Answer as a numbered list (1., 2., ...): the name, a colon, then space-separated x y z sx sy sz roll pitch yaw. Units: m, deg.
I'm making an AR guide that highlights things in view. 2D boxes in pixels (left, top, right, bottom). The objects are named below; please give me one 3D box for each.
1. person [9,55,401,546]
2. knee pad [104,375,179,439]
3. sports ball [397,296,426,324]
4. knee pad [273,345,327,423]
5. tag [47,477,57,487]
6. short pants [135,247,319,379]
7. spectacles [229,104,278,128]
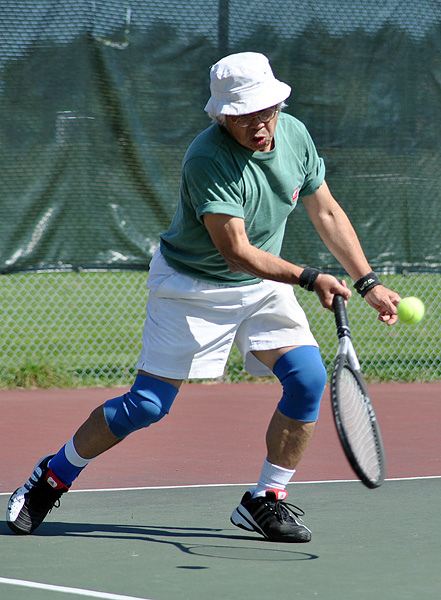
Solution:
1. person: -0.016 0.039 2.343 1.062 1.513 0.724 -2 -2 23
2. knee pad: -0.280 0.302 2.215 0.151 0.233 0.189 -25 36 -17
3. sports ball: 0.715 0.040 2.607 0.086 0.101 0.255 -2 -2 28
4. knee pad: 0.254 0.273 2.244 0.165 0.248 0.176 -2 -2 3
5. tag: -0.552 0.603 2.269 0.031 0.033 0.010 -1 -2 -4
6. short pants: 0.016 0.040 2.339 0.593 0.436 0.224 -1 -2 -7
7. spectacles: 0.101 -0.540 2.015 0.151 0.077 0.079 -1 -2 -6
